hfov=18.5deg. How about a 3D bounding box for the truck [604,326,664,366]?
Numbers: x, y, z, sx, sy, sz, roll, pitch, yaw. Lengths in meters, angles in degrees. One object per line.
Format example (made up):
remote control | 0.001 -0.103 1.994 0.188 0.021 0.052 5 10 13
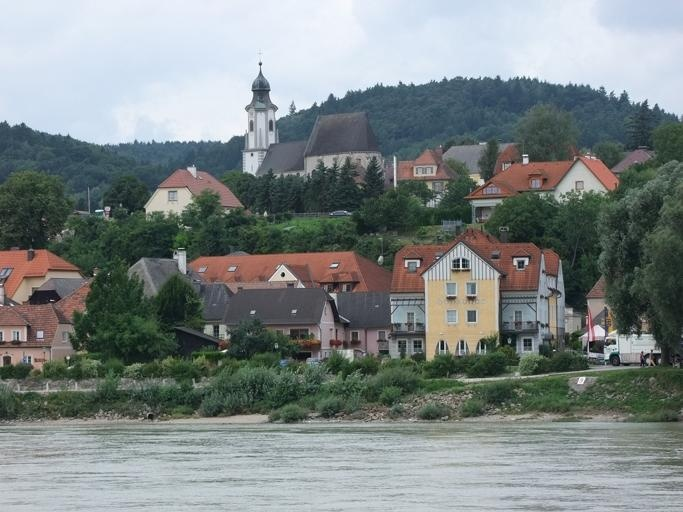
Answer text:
truck | 25.796 8.643 188.809 5.238 2.694 2.313 1 -1 26

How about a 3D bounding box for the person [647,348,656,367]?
person | 27.172 9.065 183.900 0.672 1.591 2.481 -1 -10 7
